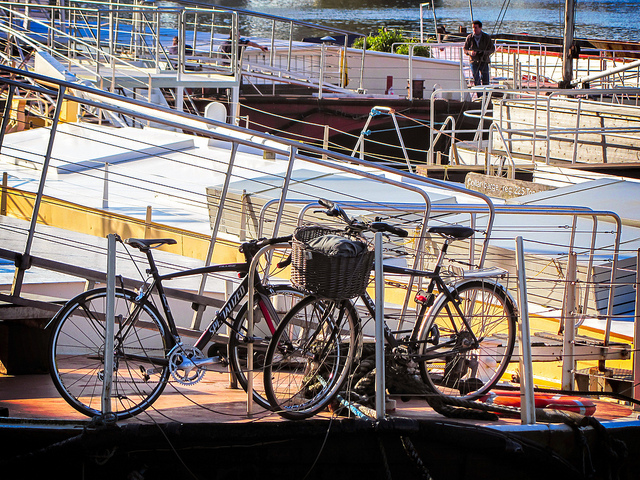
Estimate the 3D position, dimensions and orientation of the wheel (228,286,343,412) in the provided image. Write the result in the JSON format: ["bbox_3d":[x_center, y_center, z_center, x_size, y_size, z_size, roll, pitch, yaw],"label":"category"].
[{"bbox_3d":[-0.276,0.930,10.947,0.714,0.789,0.894,25,18,14],"label":"wheel"}]

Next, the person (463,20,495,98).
[{"bbox_3d":[2.454,-2.769,20.401,0.647,1.232,0.452,-11,13,-34],"label":"person"}]
